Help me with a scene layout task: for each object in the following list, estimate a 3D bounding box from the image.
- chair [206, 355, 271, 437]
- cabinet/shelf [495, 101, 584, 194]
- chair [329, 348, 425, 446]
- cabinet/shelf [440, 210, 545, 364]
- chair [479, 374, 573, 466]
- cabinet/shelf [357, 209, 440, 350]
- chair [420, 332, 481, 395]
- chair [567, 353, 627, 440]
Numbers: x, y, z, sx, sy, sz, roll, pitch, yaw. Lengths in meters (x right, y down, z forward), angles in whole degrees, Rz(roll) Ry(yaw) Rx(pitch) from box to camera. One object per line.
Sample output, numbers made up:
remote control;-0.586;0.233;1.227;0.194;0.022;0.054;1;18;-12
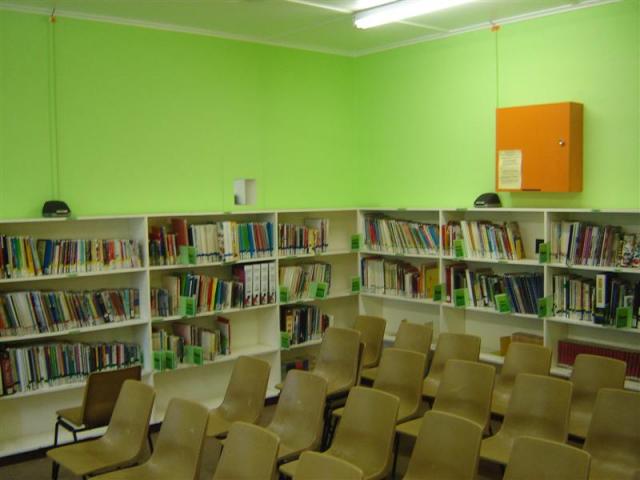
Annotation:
chair;-0.652;1.295;4.516;0.434;0.570;0.639;4;0;40
cabinet/shelf;2.317;-0.951;5.441;0.310;0.983;0.923;-3;4;-44
chair;0.510;1.297;4.515;0.671;0.607;0.610;6;-5;-39
cabinet/shelf;1.908;0.481;5.696;0.748;1.450;1.443;-7;8;-41
chair;1.653;1.297;4.075;0.555;0.590;0.655;1;-7;41
cabinet/shelf;0.992;0.443;6.428;0.519;1.642;1.594;2;1;-41
chair;1.309;1.191;5.362;0.501;0.849;0.596;1;-5;37
chair;2.423;1.272;4.461;0.500;0.809;0.664;3;-5;38
